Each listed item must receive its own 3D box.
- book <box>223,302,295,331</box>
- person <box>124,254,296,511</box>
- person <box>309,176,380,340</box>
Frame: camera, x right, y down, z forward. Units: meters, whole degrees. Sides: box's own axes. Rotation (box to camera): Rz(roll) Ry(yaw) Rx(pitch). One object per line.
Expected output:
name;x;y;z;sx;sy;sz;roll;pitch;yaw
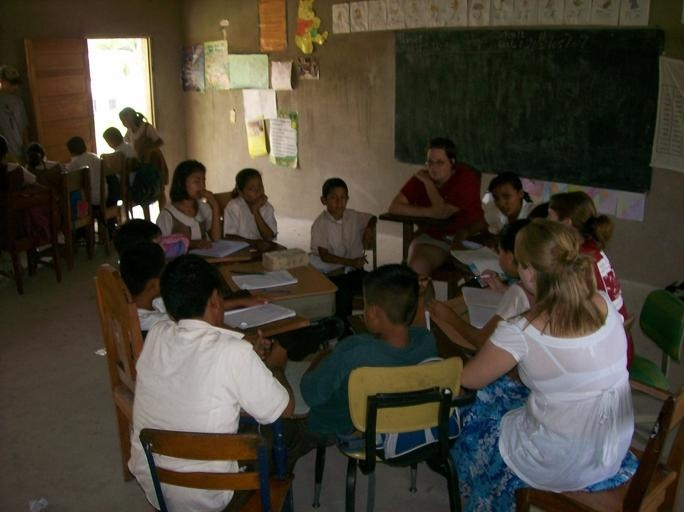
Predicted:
book;-0.421;0.290;2.629;0.157;0.024;0.161;-11;22;-27
person;-0.476;0.475;2.020;0.658;0.897;0.514;-12;16;-27
person;0.050;0.072;3.944;0.530;1.248;0.658;-9;19;-27
